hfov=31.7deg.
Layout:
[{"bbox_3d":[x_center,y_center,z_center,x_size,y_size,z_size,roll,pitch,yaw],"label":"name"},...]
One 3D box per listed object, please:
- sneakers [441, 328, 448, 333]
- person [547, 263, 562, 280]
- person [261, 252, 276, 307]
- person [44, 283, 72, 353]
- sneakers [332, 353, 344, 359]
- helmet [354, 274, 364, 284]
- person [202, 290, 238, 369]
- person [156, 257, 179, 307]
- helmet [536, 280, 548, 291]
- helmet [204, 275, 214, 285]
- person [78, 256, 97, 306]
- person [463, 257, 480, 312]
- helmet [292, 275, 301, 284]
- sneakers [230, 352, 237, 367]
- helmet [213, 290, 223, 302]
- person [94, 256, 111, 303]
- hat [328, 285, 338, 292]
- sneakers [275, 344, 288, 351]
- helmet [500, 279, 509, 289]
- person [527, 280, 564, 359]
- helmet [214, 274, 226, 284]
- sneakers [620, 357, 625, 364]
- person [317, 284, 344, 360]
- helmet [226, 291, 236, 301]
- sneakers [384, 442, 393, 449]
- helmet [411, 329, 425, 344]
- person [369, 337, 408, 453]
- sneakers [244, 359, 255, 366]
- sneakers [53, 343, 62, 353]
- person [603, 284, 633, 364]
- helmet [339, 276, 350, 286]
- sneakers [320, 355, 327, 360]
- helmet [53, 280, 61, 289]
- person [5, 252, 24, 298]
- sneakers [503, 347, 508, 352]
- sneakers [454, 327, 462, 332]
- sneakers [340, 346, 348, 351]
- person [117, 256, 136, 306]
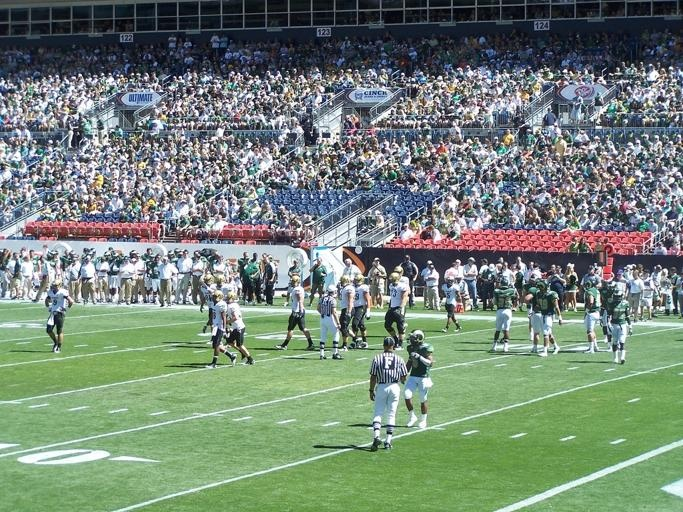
[{"bbox_3d":[3.106,2.304,36.753,0.079,0.133,0.201,3,10,-41],"label":"sneakers"},{"bbox_3d":[7.058,0.571,40.653,0.587,0.351,0.842,-6,-15,2],"label":"person"},{"bbox_3d":[-2.726,0.919,44.762,0.468,1.890,0.931,-2,10,-7],"label":"person"},{"bbox_3d":[-7.759,1.654,32.982,0.659,2.027,1.175,-3,10,-14],"label":"person"},{"bbox_3d":[-0.105,2.686,31.760,0.340,0.146,0.125,-1,5,-32],"label":"sneakers"},{"bbox_3d":[0.433,0.659,32.627,0.219,0.272,0.279,4,17,-2],"label":"helmet"},{"bbox_3d":[-3.079,1.829,30.570,0.667,2.045,1.299,-2,10,-6],"label":"person"},{"bbox_3d":[-6.430,0.999,44.185,0.591,1.889,0.753,-4,11,-18],"label":"person"},{"bbox_3d":[5.263,0.789,31.914,0.305,0.275,0.256,0,10,5],"label":"helmet"},{"bbox_3d":[-3.694,0.680,33.151,0.240,0.247,0.254,4,15,-44],"label":"helmet"},{"bbox_3d":[-9.630,1.016,45.583,0.611,1.756,1.057,-3,10,-12],"label":"person"},{"bbox_3d":[4.543,0.952,42.991,0.522,1.689,0.541,5,12,29],"label":"person"},{"bbox_3d":[-1.273,0.674,33.044,0.192,0.217,0.225,1,10,-4],"label":"helmet"},{"bbox_3d":[-2.769,2.708,30.662,0.169,0.368,0.127,-10,13,-28],"label":"sneakers"},{"bbox_3d":[-3.093,1.021,29.981,0.177,0.251,0.287,-1,10,2],"label":"helmet"},{"bbox_3d":[-9.170,0.916,46.134,0.547,1.770,0.716,-2,10,-7],"label":"person"},{"bbox_3d":[-0.279,0.906,32.926,0.408,0.168,0.535,1,0,0],"label":"hat"},{"bbox_3d":[-1.700,2.562,32.945,0.354,0.152,0.129,3,1,16],"label":"sneakers"},{"bbox_3d":[4.673,0.837,34.953,0.263,0.264,0.229,4,-11,45],"label":"helmet"},{"bbox_3d":[5.388,1.662,32.294,0.863,2.128,1.158,0,10,8],"label":"person"},{"bbox_3d":[-3.216,0.626,31.350,0.302,0.281,0.246,-1,3,41],"label":"helmet"},{"bbox_3d":[7.186,2.749,31.002,0.135,0.120,0.121,-3,-4,5],"label":"sneakers"},{"bbox_3d":[-0.342,1.783,31.779,0.588,2.010,0.938,-1,10,-1],"label":"person"},{"bbox_3d":[-2.771,1.035,30.001,0.181,0.215,0.221,1,13,-17],"label":"helmet"},{"bbox_3d":[0.875,3.773,23.567,0.110,0.127,0.140,3,0,1],"label":"sneakers"},{"bbox_3d":[1.511,1.673,24.467,0.271,0.219,0.220,2,-2,8],"label":"helmet"},{"bbox_3d":[0.915,2.724,23.869,0.705,2.113,1.282,0,10,3],"label":"person"},{"bbox_3d":[-2.357,2.758,30.809,0.308,0.199,0.111,0,12,15],"label":"sneakers"},{"bbox_3d":[-7.763,2.532,32.808,0.203,0.256,0.552,-3,10,-12],"label":"sneakers"},{"bbox_3d":[7.128,1.903,31.300,0.634,1.986,0.619,-2,-4,26],"label":"person"},{"bbox_3d":[0.026,0.699,32.736,0.220,0.275,0.274,-1,33,-19],"label":"helmet"},{"bbox_3d":[-0.511,2.721,31.770,0.140,0.089,0.085,-4,0,26],"label":"sneakers"},{"bbox_3d":[-7.752,0.811,32.731,0.172,0.281,0.454,-2,10,-5],"label":"helmet"},{"bbox_3d":[-12.948,0.786,47.626,0.474,1.867,0.796,-7,12,-31],"label":"person"},{"bbox_3d":[4.411,2.588,32.807,0.122,0.128,0.119,-2,2,-41],"label":"sneakers"},{"bbox_3d":[3.523,2.310,37.085,0.145,0.171,0.415,-3,-4,8],"label":"sneakers"},{"bbox_3d":[0.036,2.613,33.232,0.152,0.139,0.097,2,2,26],"label":"sneakers"},{"bbox_3d":[-8.111,1.010,45.362,0.636,1.779,1.003,-3,10,-10],"label":"person"}]
